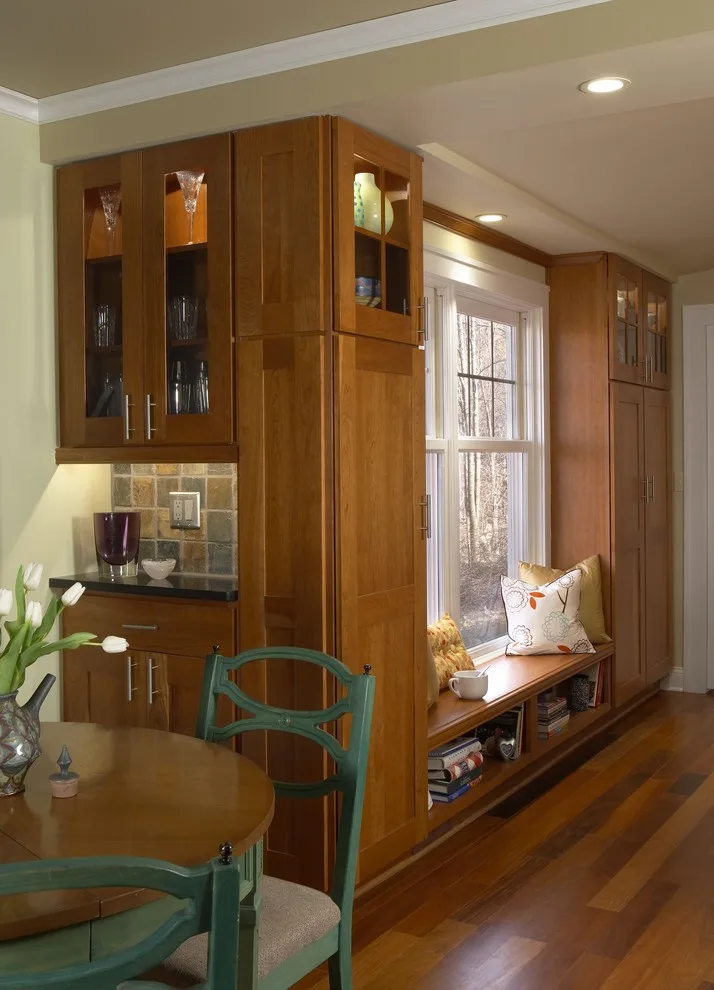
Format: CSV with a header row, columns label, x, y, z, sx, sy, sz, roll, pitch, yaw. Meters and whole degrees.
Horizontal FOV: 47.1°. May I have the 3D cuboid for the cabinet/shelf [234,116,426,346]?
label,x,y,z,sx,sy,sz,roll,pitch,yaw
cabinet/shelf,-0.066,-0.778,2.555,0.330,0.584,0.585,4,9,31

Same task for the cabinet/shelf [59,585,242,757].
label,x,y,z,sx,sy,sz,roll,pitch,yaw
cabinet/shelf,-0.656,0.586,2.752,0.641,0.620,0.248,11,24,14

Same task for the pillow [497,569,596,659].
label,x,y,z,sx,sy,sz,roll,pitch,yaw
pillow,0.944,0.604,4.154,0.402,0.403,0.156,-1,-7,-5

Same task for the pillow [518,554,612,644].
label,x,y,z,sx,sy,sz,roll,pitch,yaw
pillow,1.074,0.551,4.233,0.445,0.491,0.173,-1,1,7

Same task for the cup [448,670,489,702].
label,x,y,z,sx,sy,sz,roll,pitch,yaw
cup,0.455,0.771,3.363,0.154,0.103,0.207,-1,-1,6
